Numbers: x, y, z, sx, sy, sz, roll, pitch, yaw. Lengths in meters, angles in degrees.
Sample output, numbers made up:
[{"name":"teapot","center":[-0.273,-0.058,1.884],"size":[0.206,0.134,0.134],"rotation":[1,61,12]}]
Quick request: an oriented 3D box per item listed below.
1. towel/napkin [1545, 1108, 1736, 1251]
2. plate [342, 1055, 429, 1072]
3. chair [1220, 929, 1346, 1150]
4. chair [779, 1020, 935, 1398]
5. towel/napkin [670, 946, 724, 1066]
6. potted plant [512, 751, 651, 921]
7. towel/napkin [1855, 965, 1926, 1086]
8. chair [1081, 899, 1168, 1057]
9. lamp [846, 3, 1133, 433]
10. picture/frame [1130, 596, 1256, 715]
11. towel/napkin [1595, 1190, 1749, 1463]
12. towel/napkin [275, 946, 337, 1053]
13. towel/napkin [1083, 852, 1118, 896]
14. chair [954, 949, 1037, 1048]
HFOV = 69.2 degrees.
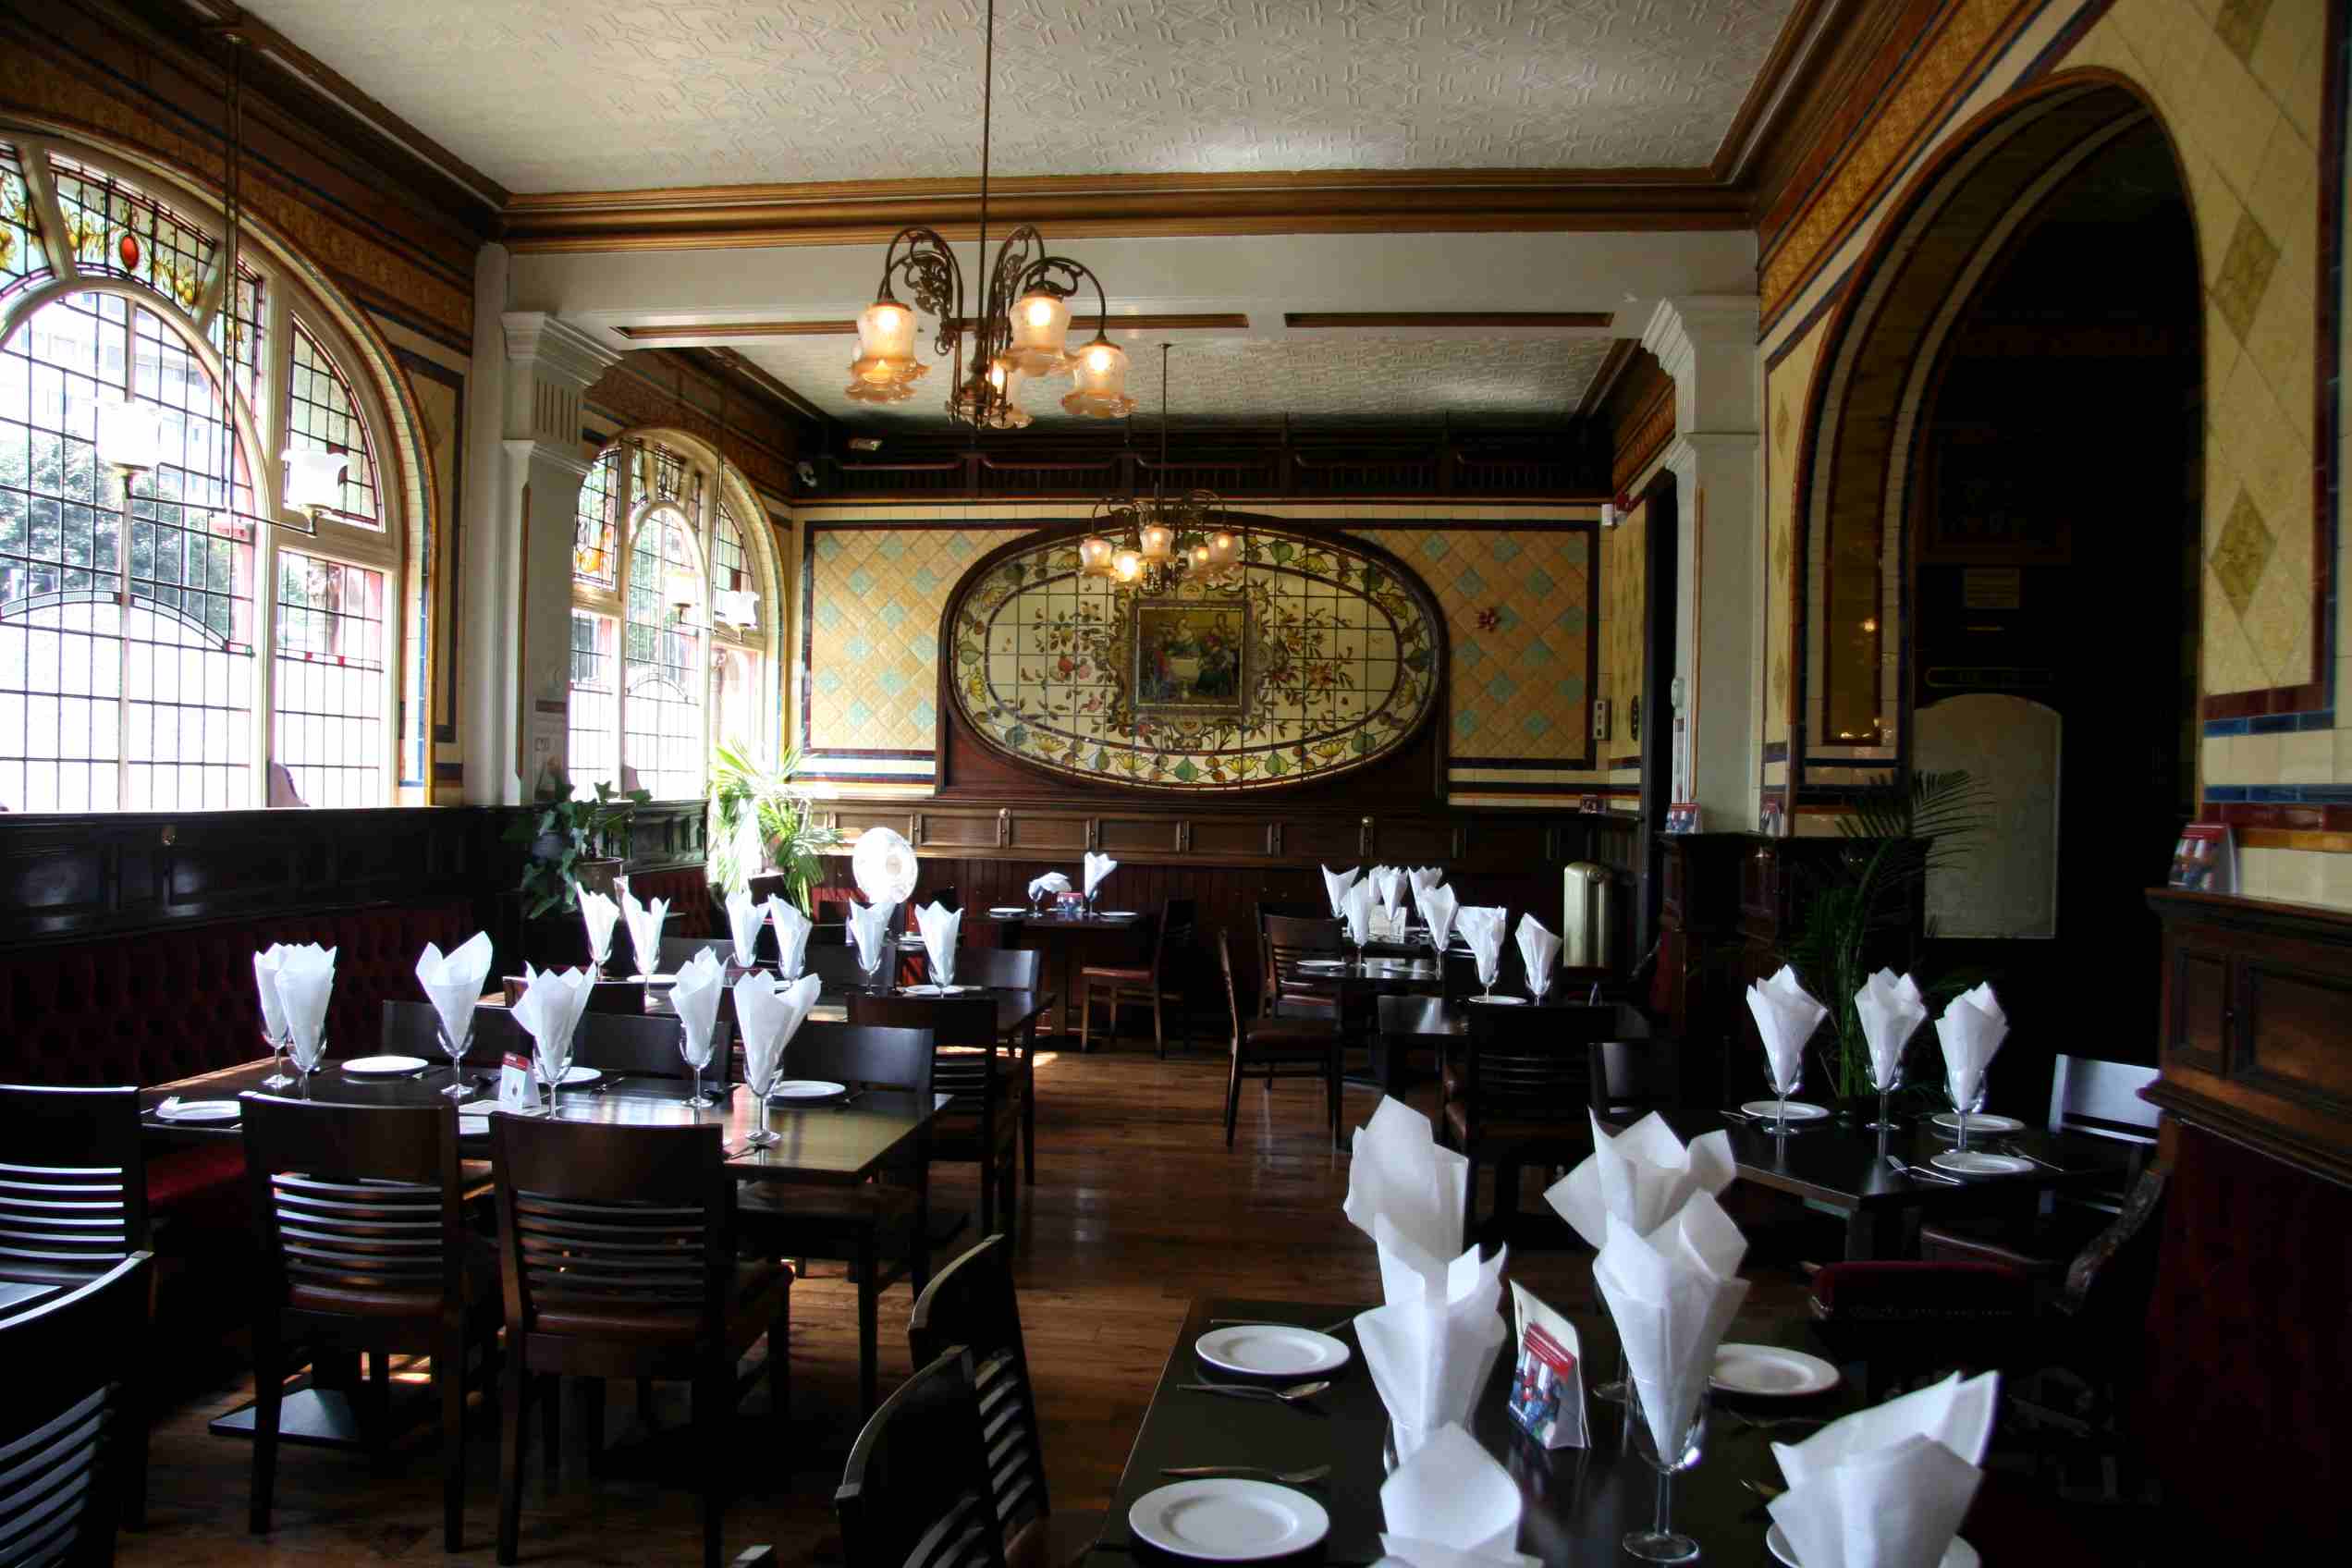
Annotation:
[{"name":"towel/napkin","center":[1.056,0.924,3.863],"size":[0.296,0.194,0.298],"rotation":[7,-27,-17]},{"name":"plate","center":[-2.849,1.008,6.139],"size":[0.136,0.029,0.139],"rotation":[-1,-3,31]},{"name":"chair","center":[0.589,1.403,9.102],"size":[0.724,0.930,0.730],"rotation":[0,0,-18]},{"name":"chair","center":[-1.163,1.354,5.788],"size":[0.671,0.979,0.727],"rotation":[0,4,-12]},{"name":"towel/napkin","center":[-1.622,0.791,5.773],"size":[0.156,0.416,0.405],"rotation":[-2,0,-15]},{"name":"potted plant","center":[-3.263,0.339,9.331],"size":[0.698,0.852,0.682],"rotation":[-1,1,-8]},{"name":"towel/napkin","center":[2.540,0.883,6.028],"size":[0.197,0.476,0.740],"rotation":[-2,0,22]},{"name":"chair","center":[-0.301,1.262,11.285],"size":[0.555,0.899,0.532],"rotation":[2,1,11]},{"name":"lamp","center":[-0.823,-2.289,7.719],"size":[1.155,1.553,3.602],"rotation":[-2,0,-6]},{"name":"picture/frame","center":[0.163,-0.934,12.603],"size":[0.821,0.822,0.110],"rotation":[1,-3,1]},{"name":"towel/napkin","center":[1.079,1.212,3.686],"size":[0.328,0.446,0.297],"rotation":[-2,0,-21]},{"name":"towel/napkin","center":[-3.024,0.769,5.889],"size":[0.162,0.453,0.336],"rotation":[-2,0,-26]},{"name":"towel/napkin","center":[-0.540,0.619,11.552],"size":[0.283,0.317,0.222],"rotation":[-3,4,5]},{"name":"chair","center":[-0.753,0.955,7.676],"size":[0.391,0.576,0.398],"rotation":[0,-5,7]}]
